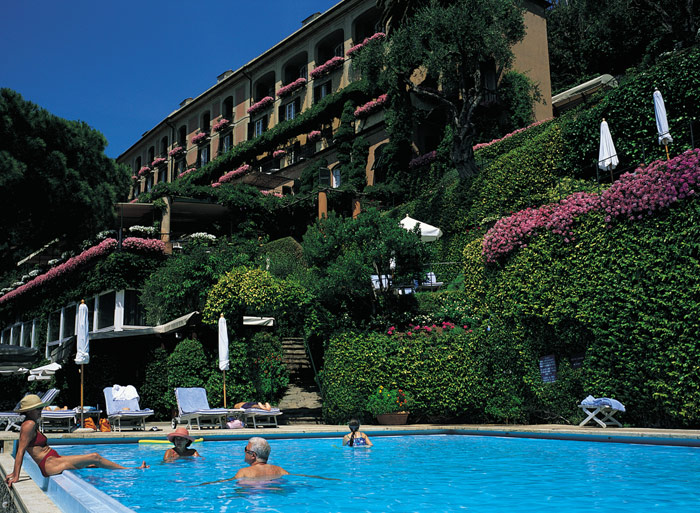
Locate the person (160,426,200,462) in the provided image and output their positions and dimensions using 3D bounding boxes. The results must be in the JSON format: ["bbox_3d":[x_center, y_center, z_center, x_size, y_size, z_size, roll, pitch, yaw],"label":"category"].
[{"bbox_3d":[-4.687,5.259,21.803,0.636,0.520,1.006,2,-23,-1],"label":"person"}]

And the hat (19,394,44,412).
[{"bbox_3d":[-7.469,3.405,18.503,0.380,0.262,0.472,-3,0,-7],"label":"hat"}]

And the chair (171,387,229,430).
[{"bbox_3d":[-4.976,5.028,26.340,1.228,1.365,2.093,8,-11,-38],"label":"chair"}]

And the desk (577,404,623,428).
[{"bbox_3d":[7.876,5.029,24.642,0.768,0.523,0.993,-16,-20,39],"label":"desk"}]

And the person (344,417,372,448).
[{"bbox_3d":[0.264,5.244,23.516,0.767,0.919,0.769,-7,-4,14],"label":"person"}]

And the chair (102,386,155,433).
[{"bbox_3d":[-7.671,5.200,27.031,1.811,1.360,1.309,-6,-12,45],"label":"chair"}]

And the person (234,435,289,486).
[{"bbox_3d":[-2.259,5.076,19.644,1.691,1.151,0.890,9,-11,-44],"label":"person"}]

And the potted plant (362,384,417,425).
[{"bbox_3d":[1.604,5.122,27.066,1.295,0.986,1.404,7,-10,-32],"label":"potted plant"}]
